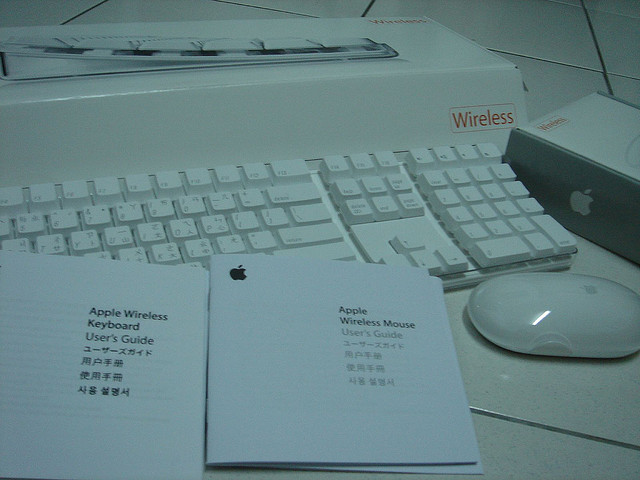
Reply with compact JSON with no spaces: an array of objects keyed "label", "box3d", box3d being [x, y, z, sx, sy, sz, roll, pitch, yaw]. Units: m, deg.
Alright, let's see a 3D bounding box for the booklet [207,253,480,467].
[{"label":"booklet","box3d":[0.007,0.118,0.546,0.379,0.192,0.040,2,-35,-15]}]
